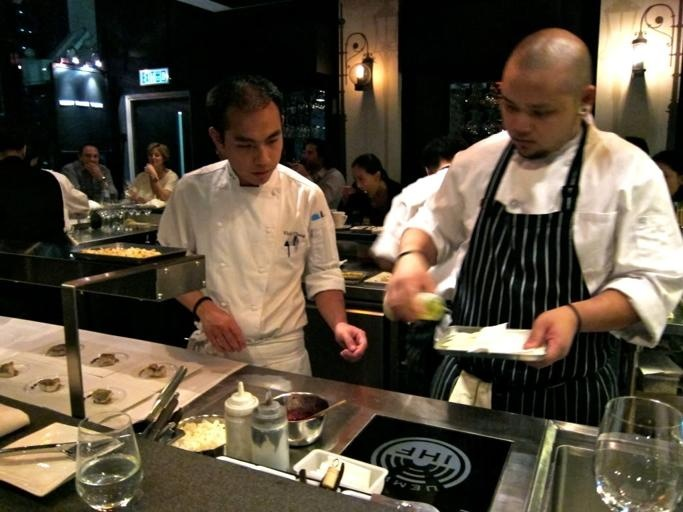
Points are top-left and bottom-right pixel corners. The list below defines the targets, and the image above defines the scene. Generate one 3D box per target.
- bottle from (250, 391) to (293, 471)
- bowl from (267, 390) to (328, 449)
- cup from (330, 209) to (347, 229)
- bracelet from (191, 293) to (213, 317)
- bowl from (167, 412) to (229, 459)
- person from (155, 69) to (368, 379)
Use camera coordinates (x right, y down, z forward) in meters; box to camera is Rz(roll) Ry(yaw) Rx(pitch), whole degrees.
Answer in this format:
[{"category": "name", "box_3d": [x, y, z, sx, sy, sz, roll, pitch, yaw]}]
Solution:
[{"category": "bottle", "box_3d": [-0.177, 0.448, 1.295, 0.091, 0.193, 0.082, 0, 11, -9]}, {"category": "bowl", "box_3d": [-0.118, 0.455, 1.468, 0.142, 0.069, 0.136, 0, 7, 0]}, {"category": "cup", "box_3d": [-0.037, -0.307, 4.366, 0.172, 0.131, 0.139, 8, 11, 33]}, {"category": "bracelet", "box_3d": [-0.562, 0.206, 2.084, 0.046, 0.078, 0.064, 12, 14, 44]}, {"category": "bowl", "box_3d": [-0.379, 0.488, 1.412, 0.103, 0.033, 0.105, 2, 1, 0]}, {"category": "person", "box_3d": [-0.339, -0.084, 2.102, 0.786, 1.248, 0.723, -1, 11, -17]}]
